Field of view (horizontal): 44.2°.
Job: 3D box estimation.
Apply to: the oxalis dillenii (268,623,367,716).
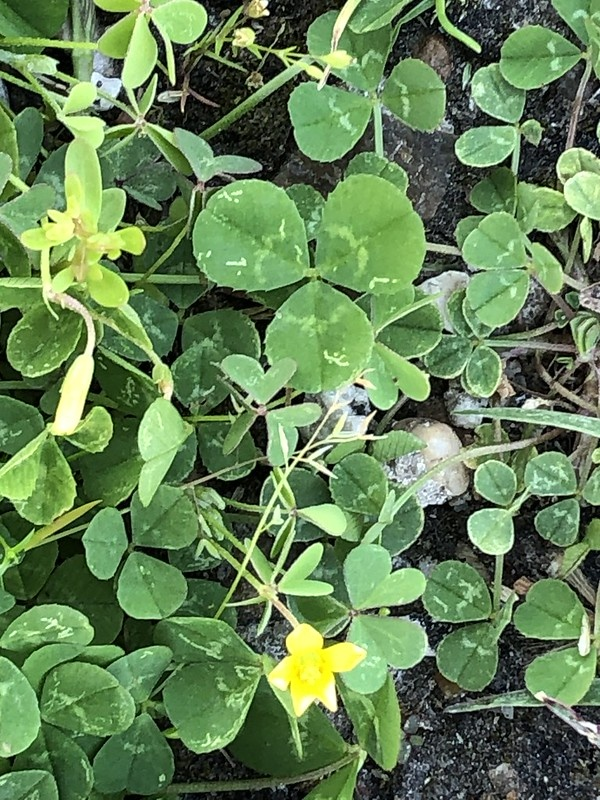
[{"bbox_3d":[0.017,0.295,0.800,0.120,0.123,0.049,-13,100,28],"label":"oxalis dillenii"}]
